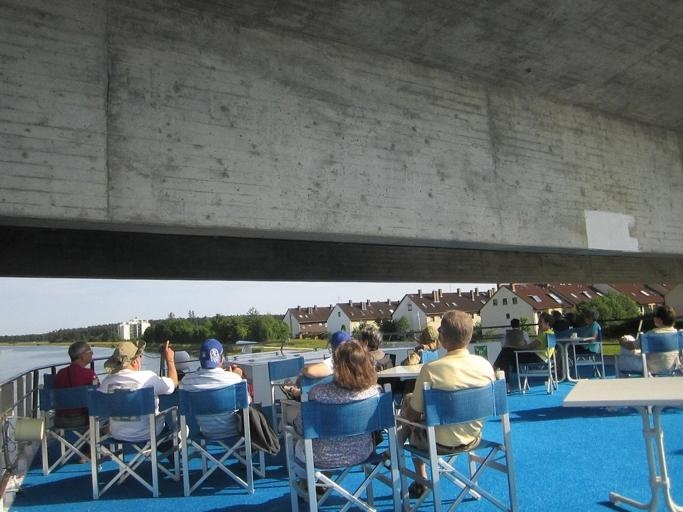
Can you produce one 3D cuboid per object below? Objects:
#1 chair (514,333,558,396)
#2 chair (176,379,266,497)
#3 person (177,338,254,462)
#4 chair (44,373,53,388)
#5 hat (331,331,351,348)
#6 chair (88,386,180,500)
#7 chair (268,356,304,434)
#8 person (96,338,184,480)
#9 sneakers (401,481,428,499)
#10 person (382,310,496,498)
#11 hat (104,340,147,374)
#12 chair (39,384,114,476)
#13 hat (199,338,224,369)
[{"bbox_3d":[2.999,1.599,9.542,0.679,0.878,1.815,-4,-4,17],"label":"chair"},{"bbox_3d":[-1.189,1.758,5.879,0.764,1.009,0.807,-9,-14,17],"label":"chair"},{"bbox_3d":[-1.199,1.272,5.905,0.611,0.954,0.497,-8,4,-11],"label":"person"},{"bbox_3d":[-3.259,1.393,6.851,0.120,0.165,0.123,-1,-7,5],"label":"chair"},{"bbox_3d":[-0.016,0.800,5.852,0.136,0.119,0.202,2,-2,-7],"label":"hat"},{"bbox_3d":[-1.987,1.760,5.966,0.778,1.046,0.822,-7,-7,24],"label":"chair"},{"bbox_3d":[-0.562,1.504,6.550,0.389,0.764,0.444,-5,-7,-12],"label":"chair"},{"bbox_3d":[-2.011,1.469,6.151,0.613,1.224,0.788,-6,-5,32],"label":"person"},{"bbox_3d":[0.618,1.983,5.208,0.125,0.140,0.247,-34,-22,14],"label":"sneakers"},{"bbox_3d":[0.863,1.298,5.312,0.744,1.691,0.852,-5,6,-24],"label":"person"},{"bbox_3d":[-2.115,0.940,6.053,0.257,0.125,0.325,-23,20,28],"label":"hat"},{"bbox_3d":[-2.843,1.833,6.633,0.610,0.845,0.601,-3,0,0],"label":"chair"},{"bbox_3d":[-1.221,0.922,5.768,0.163,0.157,0.257,2,13,-14],"label":"hat"}]
